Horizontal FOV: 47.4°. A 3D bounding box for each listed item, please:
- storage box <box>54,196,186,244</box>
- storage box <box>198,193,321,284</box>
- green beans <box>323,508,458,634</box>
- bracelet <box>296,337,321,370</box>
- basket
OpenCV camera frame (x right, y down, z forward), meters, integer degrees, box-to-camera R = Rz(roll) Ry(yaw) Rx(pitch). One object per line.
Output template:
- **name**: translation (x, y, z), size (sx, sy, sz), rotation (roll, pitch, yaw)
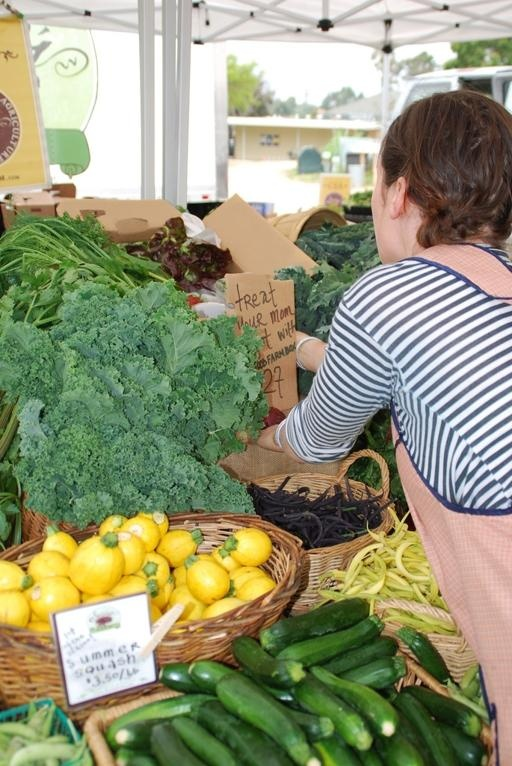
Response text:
- **storage box**: translation (-0.817, -0.967, 3.442), size (0.676, 0.281, 0.307), rotation (0, 11, 13)
- **storage box**: translation (0.037, -0.762, 3.337), size (0.542, 0.581, 0.567), rotation (-15, 19, -36)
- **green beans**: translation (0.496, 0.612, 1.986), size (0.345, 0.263, 0.305), rotation (5, 10, 42)
- **bracelet**: translation (0.233, -0.136, 2.515), size (0.058, 0.071, 0.240), rotation (23, 14, -11)
- **basket**: translation (-0.157, 0.538, 1.908), size (1.046, 0.717, 0.885), rotation (-2, 9, -10)
